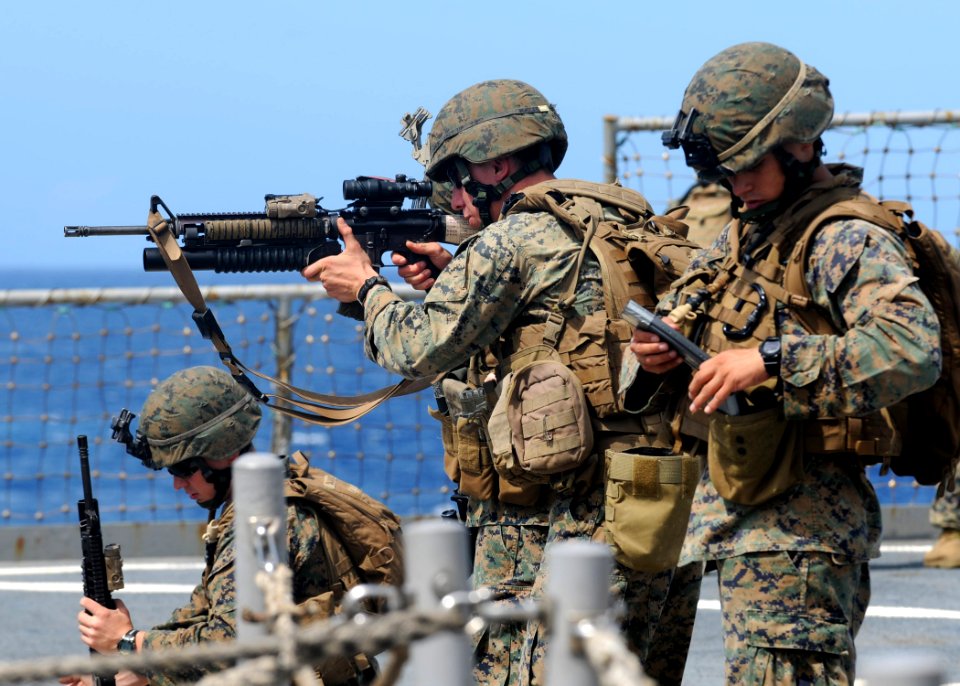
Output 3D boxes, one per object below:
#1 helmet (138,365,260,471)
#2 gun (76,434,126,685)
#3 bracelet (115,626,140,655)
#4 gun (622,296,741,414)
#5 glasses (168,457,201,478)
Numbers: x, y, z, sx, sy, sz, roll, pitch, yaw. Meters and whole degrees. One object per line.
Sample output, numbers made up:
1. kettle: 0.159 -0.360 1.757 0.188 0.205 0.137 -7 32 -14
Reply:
1. helmet: -1.491 0.375 12.313 0.553 0.432 0.460 -31 14 -12
2. gun: -1.869 1.041 11.958 0.188 1.399 0.414 -4 0 1
3. bracelet: -1.763 1.489 11.843 0.086 0.129 0.117 12 -7 -17
4. gun: 0.974 0.053 11.177 0.615 0.162 0.180 42 -16 -6
5. glasses: -1.521 0.644 12.180 0.106 0.132 0.042 -3 6 21
